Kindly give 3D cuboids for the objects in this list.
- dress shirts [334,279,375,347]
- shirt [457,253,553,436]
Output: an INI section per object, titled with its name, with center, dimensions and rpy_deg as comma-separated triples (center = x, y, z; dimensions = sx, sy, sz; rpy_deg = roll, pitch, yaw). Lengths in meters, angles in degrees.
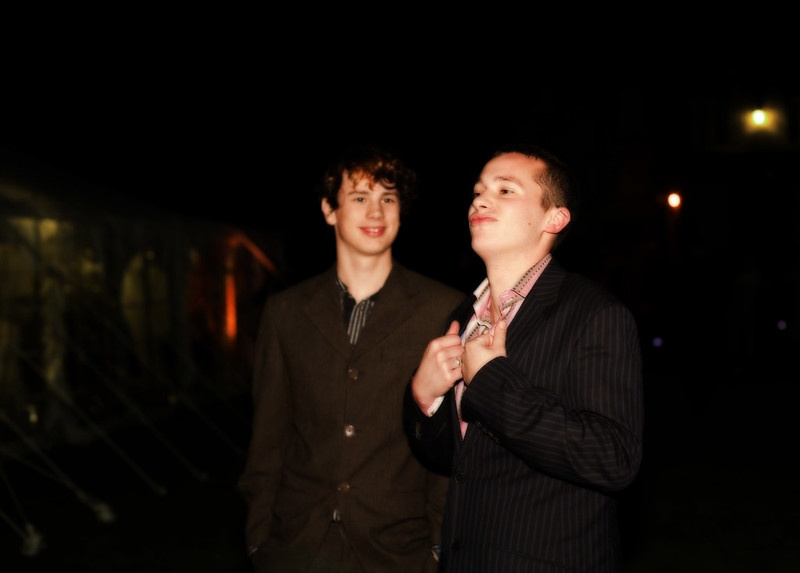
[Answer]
[dress shirts]
center = -0.430, 0.255, 7.007
dimensions = 0.382, 0.580, 0.200
rpy_deg = 4, -7, -8
[shirt]
center = 1.033, 0.602, 6.334
dimensions = 0.921, 1.376, 0.504
rpy_deg = -13, -38, 37
